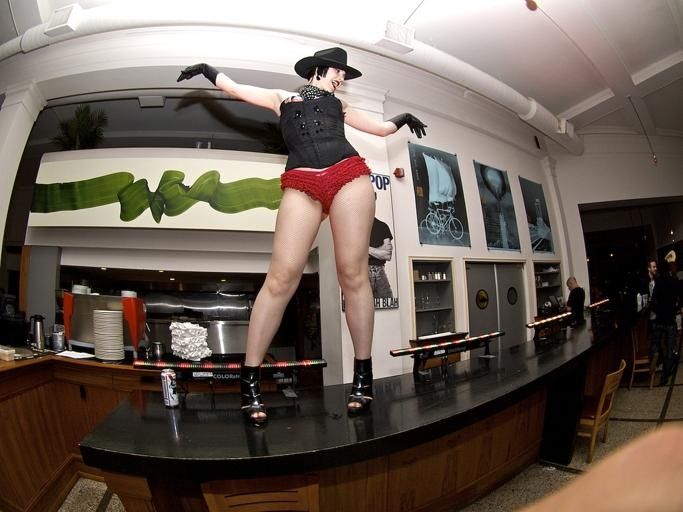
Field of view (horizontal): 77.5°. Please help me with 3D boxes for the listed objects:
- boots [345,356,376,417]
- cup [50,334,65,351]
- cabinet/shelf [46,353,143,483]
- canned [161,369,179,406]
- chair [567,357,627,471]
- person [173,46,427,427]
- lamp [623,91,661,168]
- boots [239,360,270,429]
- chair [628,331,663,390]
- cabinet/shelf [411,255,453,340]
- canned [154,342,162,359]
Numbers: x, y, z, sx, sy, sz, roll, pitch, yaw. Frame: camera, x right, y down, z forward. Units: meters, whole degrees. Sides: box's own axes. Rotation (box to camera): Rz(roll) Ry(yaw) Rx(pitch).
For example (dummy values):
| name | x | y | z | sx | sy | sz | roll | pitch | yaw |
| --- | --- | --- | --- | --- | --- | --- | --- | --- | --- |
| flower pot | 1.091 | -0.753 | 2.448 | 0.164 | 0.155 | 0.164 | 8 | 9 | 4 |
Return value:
| name | x | y | z | sx | sy | sz | roll | pitch | yaw |
| --- | --- | --- | --- | --- | --- | --- | --- | --- | --- |
| boots | 0.111 | 0.761 | 2.564 | 0.154 | 0.276 | 0.284 | -1 | 6 | 4 |
| cup | -2.856 | 0.859 | 4.266 | 0.104 | 0.195 | 0.123 | -6 | 8 | -41 |
| cabinet/shelf | -2.092 | 1.499 | 3.947 | 0.891 | 0.883 | 0.374 | -3 | -27 | 11 |
| canned | -1.052 | 0.796 | 2.598 | 0.090 | 0.224 | 0.130 | -4 | 6 | -23 |
| chair | 2.107 | 1.267 | 3.679 | 0.536 | 0.786 | 0.572 | 4 | 10 | 12 |
| person | -0.200 | -0.202 | 2.592 | 0.802 | 2.202 | 0.537 | -2 | 5 | -9 |
| lamp | 4.247 | -1.727 | 5.968 | 0.178 | 0.761 | 1.739 | 4 | 8 | 43 |
| boots | -0.528 | 0.787 | 2.487 | 0.125 | 0.279 | 0.378 | 0 | 5 | -23 |
| chair | 3.678 | 1.272 | 5.183 | 0.302 | 0.572 | 0.306 | -1 | -15 | 43 |
| cabinet/shelf | 1.182 | 0.582 | 5.566 | 0.511 | 0.982 | 0.268 | -4 | -6 | -8 |
| canned | -1.777 | 0.915 | 4.102 | 0.085 | 0.152 | 0.173 | -4 | 7 | -27 |
